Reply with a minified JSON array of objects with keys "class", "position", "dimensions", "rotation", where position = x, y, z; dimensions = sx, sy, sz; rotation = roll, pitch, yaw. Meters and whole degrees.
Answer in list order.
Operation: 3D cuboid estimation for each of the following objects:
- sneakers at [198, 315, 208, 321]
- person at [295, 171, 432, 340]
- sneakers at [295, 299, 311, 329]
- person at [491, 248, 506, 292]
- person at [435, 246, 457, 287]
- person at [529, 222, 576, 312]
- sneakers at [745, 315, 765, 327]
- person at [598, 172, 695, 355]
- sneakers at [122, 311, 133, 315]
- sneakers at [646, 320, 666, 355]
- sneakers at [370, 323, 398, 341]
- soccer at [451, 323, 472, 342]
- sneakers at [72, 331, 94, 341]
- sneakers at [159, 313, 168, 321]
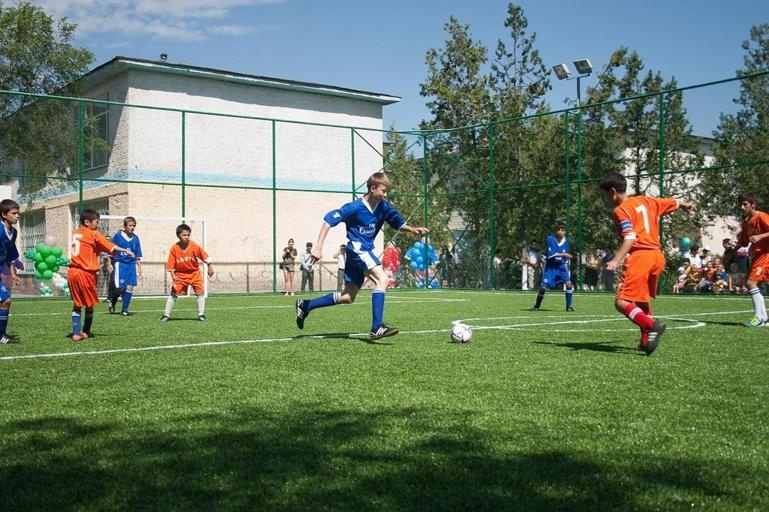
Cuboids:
[{"class":"sneakers","position":[-2.987,1.036,12.136],"dimensions":[0.067,0.099,0.190],"rotation":[-1,3,-8]},{"class":"person","position":[-0.327,0.022,9.433],"dimensions":[1.433,2.155,1.168],"rotation":[-1,7,1]},{"class":"sneakers","position":[-1.089,0.764,9.850],"dimensions":[0.197,0.476,0.157],"rotation":[1,6,6]},{"class":"person","position":[3.641,0.432,23.477],"dimensions":[0.398,1.225,0.227],"rotation":[2,7,20]},{"class":"person","position":[2.126,0.345,24.987],"dimensions":[0.346,1.497,0.915],"rotation":[-3,7,-20]},{"class":"person","position":[3.270,0.240,14.237],"dimensions":[0.721,1.724,1.201],"rotation":[1,7,14]},{"class":"sneakers","position":[5.355,0.956,10.672],"dimensions":[0.368,0.151,0.134],"rotation":[0,-3,-3]},{"class":"person","position":[3.004,0.072,8.694],"dimensions":[0.883,2.085,1.403],"rotation":[2,7,22]},{"class":"sneakers","position":[-4.708,1.059,13.520],"dimensions":[0.257,0.106,0.089],"rotation":[1,2,13]},{"class":"sneakers","position":[3.061,0.932,8.400],"dimensions":[0.208,0.391,0.294],"rotation":[1,7,17]},{"class":"sneakers","position":[-0.048,0.967,9.190],"dimensions":[0.445,0.199,0.154],"rotation":[-13,1,14]},{"class":"soccer","position":[0.956,0.976,9.342],"dimensions":[0.228,0.236,0.233],"rotation":[16,1,18]},{"class":"sneakers","position":[-4.042,1.087,9.856],"dimensions":[0.104,0.131,0.311],"rotation":[24,-13,0]},{"class":"sneakers","position":[-3.617,1.021,12.110],"dimensions":[0.092,0.082,0.190],"rotation":[0,-7,-12]}]
